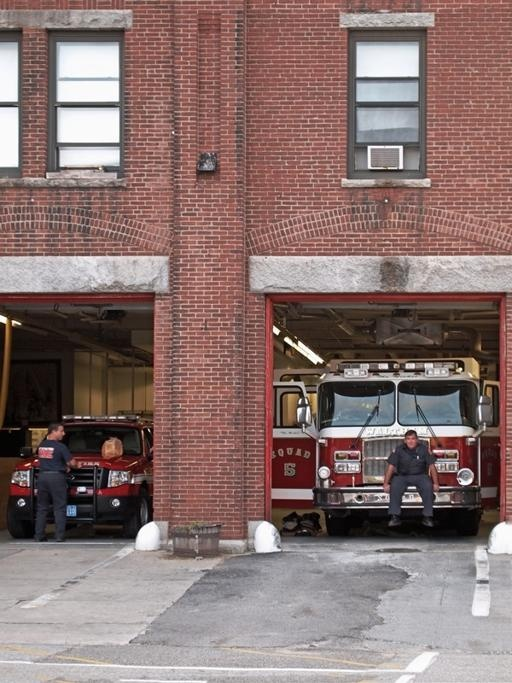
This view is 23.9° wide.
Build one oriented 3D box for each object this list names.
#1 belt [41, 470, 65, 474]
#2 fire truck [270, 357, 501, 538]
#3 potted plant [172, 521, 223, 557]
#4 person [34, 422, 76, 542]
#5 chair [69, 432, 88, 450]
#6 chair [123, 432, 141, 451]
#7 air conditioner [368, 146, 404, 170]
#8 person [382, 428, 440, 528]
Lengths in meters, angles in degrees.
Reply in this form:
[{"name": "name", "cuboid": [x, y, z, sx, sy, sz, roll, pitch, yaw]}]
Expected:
[{"name": "belt", "cuboid": [-2.806, 1.791, 16.783, 0.329, 0.065, 0.124, -1, -5, -11]}, {"name": "fire truck", "cuboid": [1.880, 1.467, 18.245, 3.294, 2.848, 3.307, -1, -5, 9]}, {"name": "potted plant", "cuboid": [-0.758, 2.484, 15.149, 0.588, 0.416, 0.277, -2, -4, -5]}, {"name": "person", "cuboid": [-2.823, 1.957, 16.967, 0.563, 1.645, 0.578, -1, -4, -12]}, {"name": "chair", "cuboid": [-2.811, 1.559, 18.986, 0.255, 0.285, 0.357, 2, 36, 1]}, {"name": "chair", "cuboid": [-1.938, 1.555, 18.885, 0.214, 0.298, 0.156, -1, -46, 2]}, {"name": "air conditioner", "cuboid": [1.722, -2.498, 16.386, 0.569, 0.374, 0.303, 0, -2, 9]}, {"name": "person", "cuboid": [2.104, 1.842, 16.543, 0.736, 1.282, 0.765, -2, -4, -3]}]
